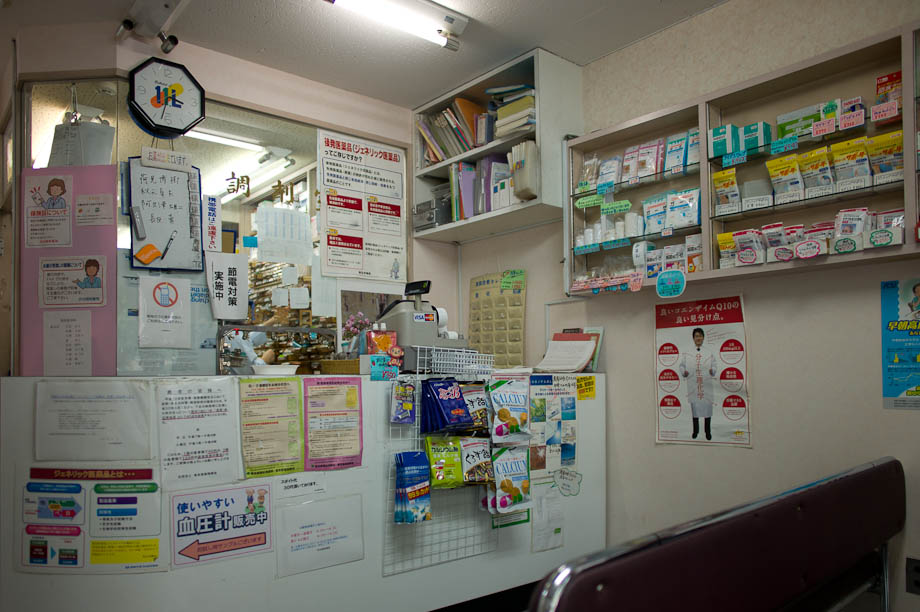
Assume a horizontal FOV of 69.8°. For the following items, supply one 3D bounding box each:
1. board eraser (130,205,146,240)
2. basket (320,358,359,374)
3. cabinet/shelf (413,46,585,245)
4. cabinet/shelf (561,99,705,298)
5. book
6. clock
[{"bbox_3d":[-2.138,-0.551,4.364,0.099,0.227,0.052,-3,-6,15],"label":"board eraser"},{"bbox_3d":[-0.736,0.363,4.004,0.315,0.096,0.108,-6,-6,44],"label":"basket"},{"bbox_3d":[0.358,-1.306,5.262,0.447,1.008,1.340,9,-14,-37],"label":"cabinet/shelf"},{"bbox_3d":[1.243,-0.711,4.620,1.449,1.342,0.398,-2,-3,40],"label":"cabinet/shelf"},{"bbox_3d":[0.169,-1.225,5.389,0.367,0.985,1.196,2,-3,-38],"label":"book"},{"bbox_3d":[-2.177,-1.529,4.821,0.650,0.639,0.198,2,-8,-42],"label":"clock"}]
